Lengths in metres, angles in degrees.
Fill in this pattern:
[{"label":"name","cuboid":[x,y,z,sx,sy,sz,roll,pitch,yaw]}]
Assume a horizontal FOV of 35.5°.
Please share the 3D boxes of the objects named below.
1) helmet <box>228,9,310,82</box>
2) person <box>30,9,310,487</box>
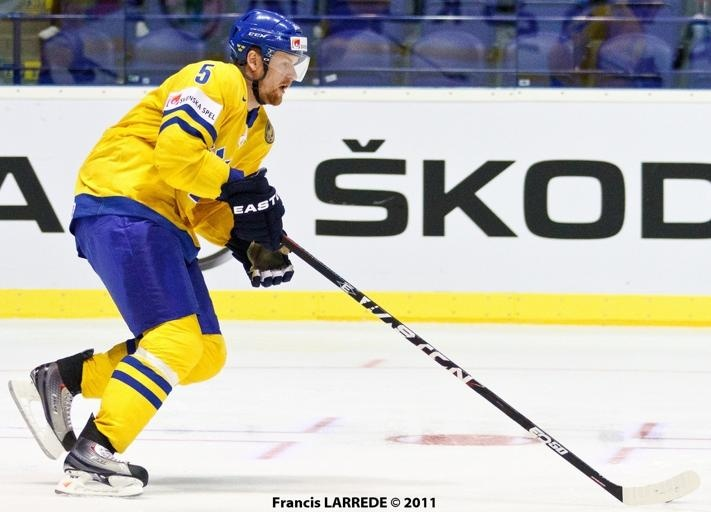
[{"label":"helmet","cuboid":[-0.413,-1.018,5.427,0.437,0.317,0.287,9,3,-5]},{"label":"person","cuboid":[-0.881,-0.052,5.200,1.274,2.200,0.545,-4,11,-30]}]
